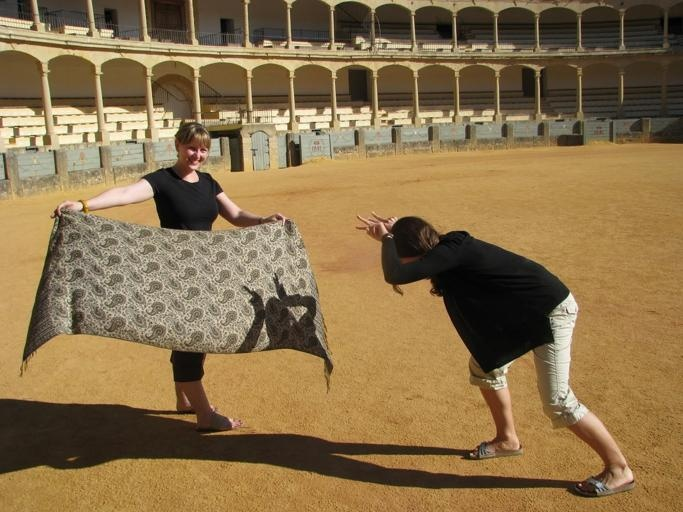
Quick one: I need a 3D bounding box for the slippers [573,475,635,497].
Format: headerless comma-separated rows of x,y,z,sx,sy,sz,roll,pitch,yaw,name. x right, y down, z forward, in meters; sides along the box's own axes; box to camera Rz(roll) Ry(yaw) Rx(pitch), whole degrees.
1.395,1.186,2.672,0.253,0.058,0.123,-1,5,-2,slippers

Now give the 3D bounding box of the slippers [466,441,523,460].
0.939,1.172,3.081,0.248,0.065,0.137,0,-3,1,slippers
